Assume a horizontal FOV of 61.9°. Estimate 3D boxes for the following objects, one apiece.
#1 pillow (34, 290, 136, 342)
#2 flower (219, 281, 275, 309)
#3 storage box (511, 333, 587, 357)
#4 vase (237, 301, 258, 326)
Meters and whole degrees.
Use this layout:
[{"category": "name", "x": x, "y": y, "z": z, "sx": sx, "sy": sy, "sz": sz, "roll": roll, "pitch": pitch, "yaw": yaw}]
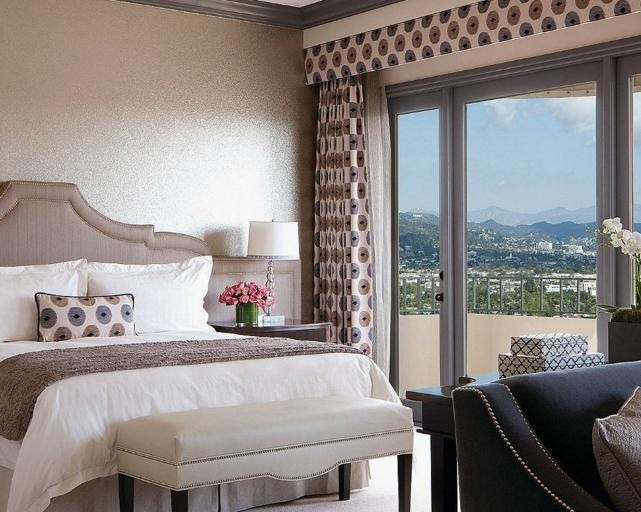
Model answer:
[{"category": "pillow", "x": -1.629, "y": 0.411, "z": 3.723, "sx": 0.630, "sy": 0.317, "sz": 0.191, "roll": -1, "pitch": 1, "yaw": -26}, {"category": "flower", "x": -0.693, "y": 0.347, "z": 4.803, "sx": 0.285, "sy": 0.163, "sz": 0.301, "roll": 1, "pitch": 0, "yaw": -27}, {"category": "storage box", "x": 0.885, "y": 0.341, "z": 2.070, "sx": 0.303, "sy": 0.078, "sz": 0.148, "roll": -1, "pitch": 1, "yaw": -28}, {"category": "vase", "x": -0.647, "y": 0.518, "z": 4.730, "sx": 0.169, "sy": 0.220, "sz": 0.191, "roll": 1, "pitch": -1, "yaw": 7}]
